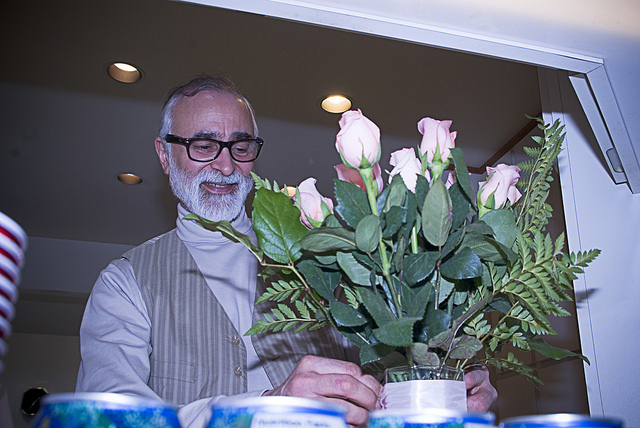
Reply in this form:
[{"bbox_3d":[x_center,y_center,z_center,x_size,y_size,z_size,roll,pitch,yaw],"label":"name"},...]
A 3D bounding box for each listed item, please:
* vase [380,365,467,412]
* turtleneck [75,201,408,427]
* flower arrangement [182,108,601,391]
[{"bbox_3d":[0.167,0.276,0.732,0.103,0.072,0.118,-13,-36,26],"label":"vase"},{"bbox_3d":[-0.161,0.209,0.997,0.482,0.363,0.282,-9,-13,-26],"label":"turtleneck"},{"bbox_3d":[0.110,0.066,0.811,0.564,0.417,0.257,-2,-12,-2],"label":"flower arrangement"}]
